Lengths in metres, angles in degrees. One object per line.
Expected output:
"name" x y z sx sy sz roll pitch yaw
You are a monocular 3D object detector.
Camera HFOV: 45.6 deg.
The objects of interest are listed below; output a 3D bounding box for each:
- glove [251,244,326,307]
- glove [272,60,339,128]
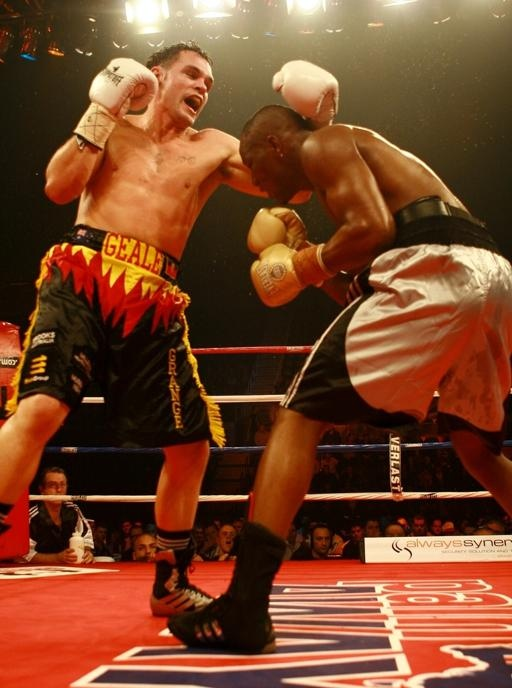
"glove" 0.092 -0.158 1.405 0.183 0.133 0.084 14 56 47
"glove" 0.127 -0.611 1.540 0.187 0.155 0.167 10 33 5
